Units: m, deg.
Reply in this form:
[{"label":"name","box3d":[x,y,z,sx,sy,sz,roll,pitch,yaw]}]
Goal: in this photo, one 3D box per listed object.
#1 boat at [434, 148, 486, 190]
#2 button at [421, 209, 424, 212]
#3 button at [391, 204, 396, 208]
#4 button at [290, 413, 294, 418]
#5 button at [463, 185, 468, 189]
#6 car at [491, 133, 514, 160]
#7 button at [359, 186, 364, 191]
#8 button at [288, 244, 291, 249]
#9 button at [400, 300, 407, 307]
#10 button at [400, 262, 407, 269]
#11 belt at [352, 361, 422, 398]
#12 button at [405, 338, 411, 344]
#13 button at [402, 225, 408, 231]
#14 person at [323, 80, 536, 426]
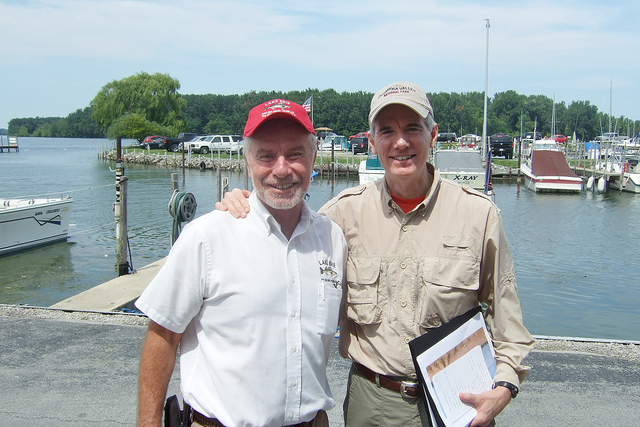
[{"label":"boat","box3d":[7.254,-2.787,28.968,2.727,1.687,4.938,1,23,2]},{"label":"button","box3d":[0.766,-0.024,4.034,0.019,0.019,0.002,-1,14,-3]},{"label":"button","box3d":[0.554,-0.060,4.072,0.035,0.025,0.005,5,15,18]},{"label":"button","box3d":[-0.183,1.312,3.530,0.022,0.022,0.005,2,-5,44]},{"label":"button","box3d":[1.111,-0.210,4.135,0.033,0.014,0.127,3,15,12]},{"label":"car","box3d":[17.168,-6.386,51.100,1.572,1.830,2.959,2,15,18]},{"label":"button","box3d":[0.325,-0.201,4.247,0.036,0.036,0.010,0,-5,-14]},{"label":"button","box3d":[-0.204,0.218,3.628,0.022,0.027,0.018,-5,15,-17]},{"label":"button","box3d":[0.613,0.655,3.965,0.050,0.046,0.021,2,14,8]},{"label":"button","box3d":[0.623,0.383,4.023,0.035,0.037,0.009,0,-13,6]},{"label":"belt","box3d":[0.522,1.155,3.942,0.315,0.066,0.229,19,-4,24]},{"label":"button","box3d":[0.628,0.908,3.874,0.048,0.051,0.012,-7,-18,24]},{"label":"button","box3d":[0.638,0.106,4.051,0.035,0.037,0.008,-2,-10,14]},{"label":"person","box3d":[0.769,0.391,3.929,1.385,2.594,0.990,5,15,20]}]
